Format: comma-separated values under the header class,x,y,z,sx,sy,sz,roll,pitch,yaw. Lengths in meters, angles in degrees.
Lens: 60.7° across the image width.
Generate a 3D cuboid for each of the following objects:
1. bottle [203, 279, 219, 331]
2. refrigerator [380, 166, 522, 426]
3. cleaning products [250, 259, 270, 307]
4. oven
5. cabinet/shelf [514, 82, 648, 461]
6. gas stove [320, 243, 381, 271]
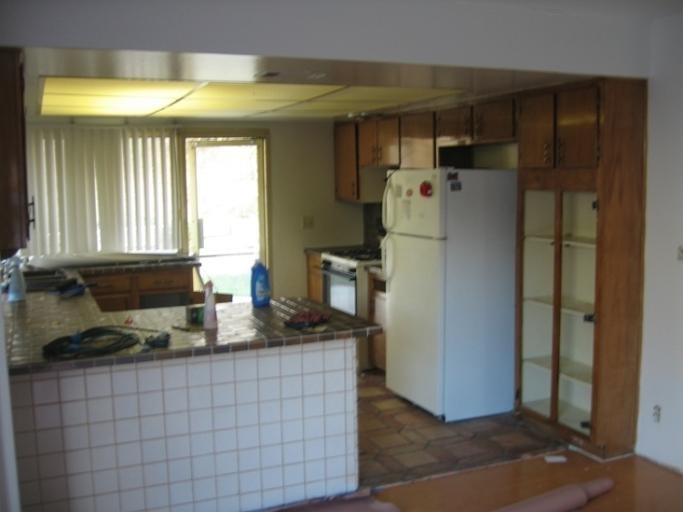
class,x,y,z,sx,sy,sz,roll,pitch,yaw
bottle,-0.827,0.270,3.668,0.088,0.331,0.354,-3,12,-13
refrigerator,0.883,0.287,4.738,1.085,1.988,0.669,2,12,8
cleaning products,-0.570,0.185,4.109,0.125,0.321,0.190,-2,12,-11
oven,0.102,0.517,5.855,0.455,0.867,0.606,-7,11,-41
cabinet/shelf,1.753,0.045,4.278,0.491,2.552,0.999,-6,13,-25
gas stove,0.089,-0.005,6.077,0.604,0.164,1.341,0,12,2
